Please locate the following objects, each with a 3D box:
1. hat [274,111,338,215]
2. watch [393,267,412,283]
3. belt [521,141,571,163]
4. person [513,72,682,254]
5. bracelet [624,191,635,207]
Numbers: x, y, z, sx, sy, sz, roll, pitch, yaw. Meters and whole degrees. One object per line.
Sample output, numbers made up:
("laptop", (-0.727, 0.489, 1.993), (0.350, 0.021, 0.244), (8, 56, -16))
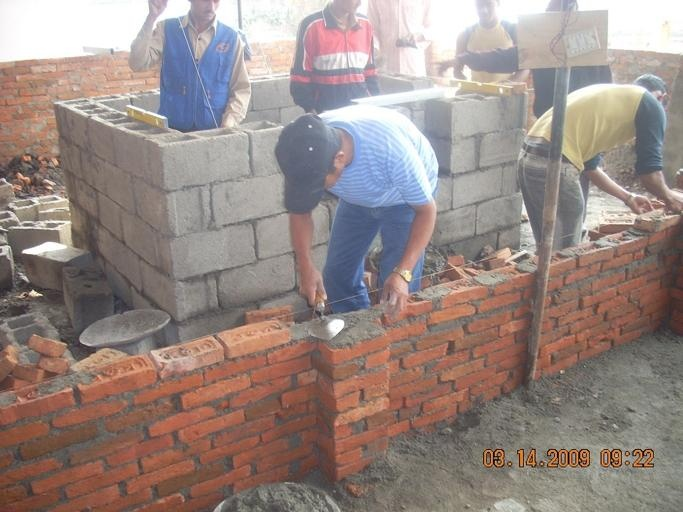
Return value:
("hat", (-0.248, -0.562, 3.693), (0.368, 0.588, 0.313), (-19, 51, -29))
("watch", (0.382, 0.125, 4.063), (0.087, 0.053, 0.090), (30, -6, 38))
("belt", (1.579, -0.844, 5.222), (0.327, 0.119, 0.244), (30, 18, 6))
("person", (2.046, -0.705, 5.344), (1.222, 1.312, 0.679), (1, 20, 10))
("bracelet", (2.315, -0.445, 5.348), (0.026, 0.100, 0.073), (8, 4, 6))
